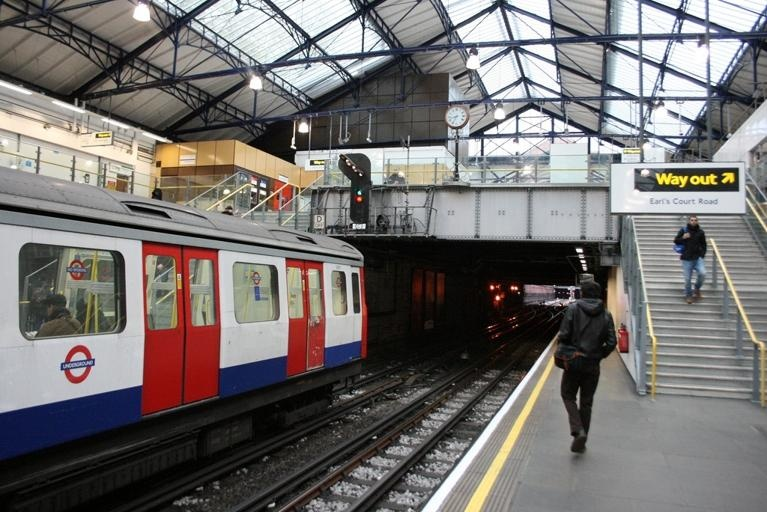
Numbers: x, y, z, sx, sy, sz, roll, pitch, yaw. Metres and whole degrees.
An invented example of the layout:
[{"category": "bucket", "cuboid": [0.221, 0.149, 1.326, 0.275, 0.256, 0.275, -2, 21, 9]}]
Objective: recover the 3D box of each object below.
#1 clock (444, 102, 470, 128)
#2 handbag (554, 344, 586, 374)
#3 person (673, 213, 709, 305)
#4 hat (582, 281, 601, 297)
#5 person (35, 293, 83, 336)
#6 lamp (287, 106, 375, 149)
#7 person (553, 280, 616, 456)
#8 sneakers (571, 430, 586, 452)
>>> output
[{"category": "clock", "cuboid": [3.001, -5.706, 24.116, 1.140, 1.222, 0.281, 1, -6, 36]}, {"category": "handbag", "cuboid": [3.291, 1.767, 10.514, 0.420, 0.590, 0.576, 20, -18, -40]}, {"category": "person", "cuboid": [7.868, 0.066, 15.353, 0.687, 2.279, 0.545, 4, 9, 32]}, {"category": "hat", "cuboid": [3.624, 0.578, 10.460, 0.270, 0.366, 0.357, 4, 3, 12]}, {"category": "person", "cuboid": [-5.273, 0.988, 9.750, 0.398, 0.716, 0.866, 3, 6, 24]}, {"category": "lamp", "cuboid": [-3.298, -8.594, 39.113, 4.860, 2.647, 0.761, -4, -35, 11]}, {"category": "person", "cuboid": [3.485, 1.978, 10.515, 1.016, 3.131, 0.492, -2, 8, -10]}, {"category": "sneakers", "cuboid": [3.429, 3.313, 10.530, 0.189, 0.184, 0.426, 4, -41, 7]}]
